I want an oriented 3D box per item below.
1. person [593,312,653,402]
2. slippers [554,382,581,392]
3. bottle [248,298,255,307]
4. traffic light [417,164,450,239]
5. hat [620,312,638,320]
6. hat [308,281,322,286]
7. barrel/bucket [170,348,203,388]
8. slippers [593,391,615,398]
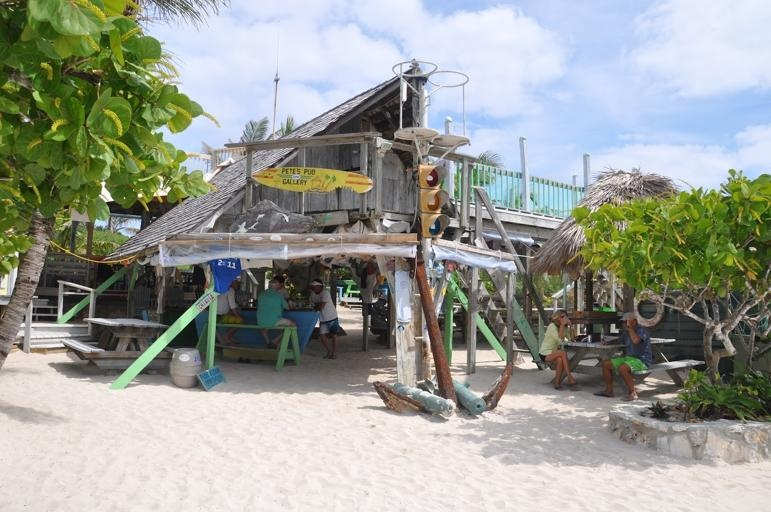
[{"bbox_3d":[4.707,2.066,13.746,0.993,1.617,0.908,15,-25,-13],"label":"person"},{"bbox_3d":[3.677,2.697,14.144,0.411,0.095,0.211,-1,-4,-5],"label":"slippers"},{"bbox_3d":[-3.714,1.298,19.136,0.255,0.238,0.260,-5,-8,41],"label":"bottle"},{"bbox_3d":[0.841,-0.949,12.295,0.561,1.329,0.670,3,7,2],"label":"traffic light"},{"bbox_3d":[4.859,1.206,13.781,0.190,0.113,0.303,-8,-5,41],"label":"hat"},{"bbox_3d":[-1.797,0.705,17.788,0.288,0.081,0.197,3,-3,-24],"label":"hat"},{"bbox_3d":[-3.805,2.147,13.321,0.677,0.763,0.641,2,-2,0],"label":"barrel/bucket"},{"bbox_3d":[4.231,2.687,13.380,0.255,0.067,0.131,-2,-4,41],"label":"slippers"}]
